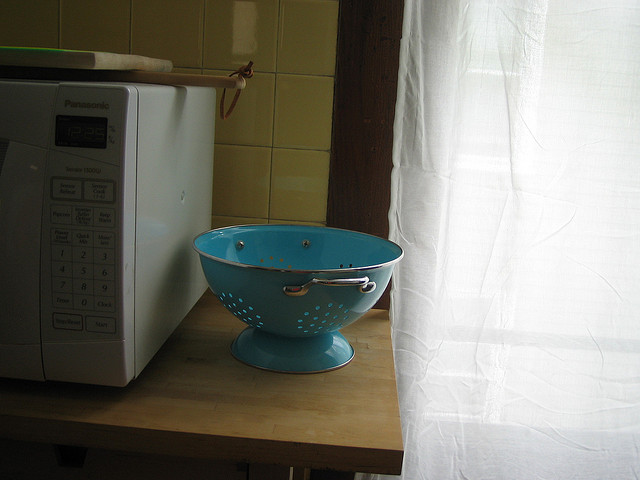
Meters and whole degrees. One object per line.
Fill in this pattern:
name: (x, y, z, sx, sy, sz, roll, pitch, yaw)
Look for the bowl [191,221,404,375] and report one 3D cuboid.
bowl: (-0.026, 0.080, 1.149, 0.301, 0.171, 0.331, 5, 10, -1)
